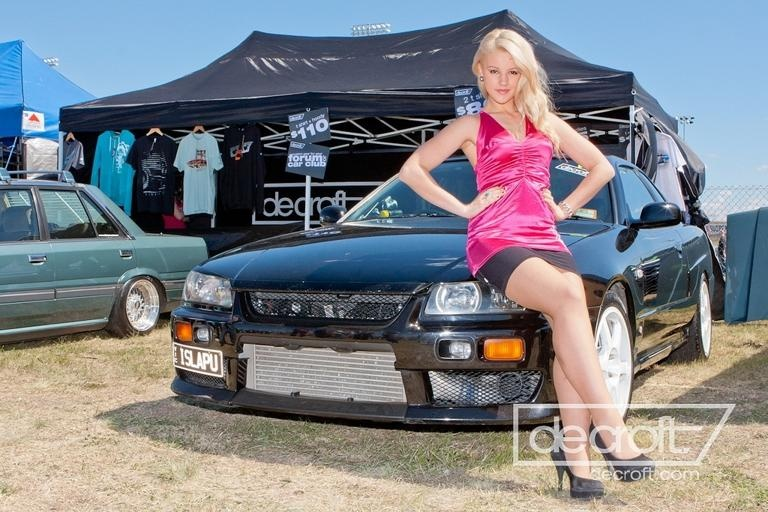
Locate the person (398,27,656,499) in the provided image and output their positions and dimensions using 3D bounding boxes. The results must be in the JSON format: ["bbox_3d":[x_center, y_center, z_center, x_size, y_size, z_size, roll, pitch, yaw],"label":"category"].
[{"bbox_3d":[0.687,0.037,2.627,1.066,2.220,0.396,0,3,2],"label":"person"}]

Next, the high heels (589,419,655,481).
[{"bbox_3d":[1.088,0.907,2.573,0.186,0.325,0.119,-33,0,-10],"label":"high heels"}]
